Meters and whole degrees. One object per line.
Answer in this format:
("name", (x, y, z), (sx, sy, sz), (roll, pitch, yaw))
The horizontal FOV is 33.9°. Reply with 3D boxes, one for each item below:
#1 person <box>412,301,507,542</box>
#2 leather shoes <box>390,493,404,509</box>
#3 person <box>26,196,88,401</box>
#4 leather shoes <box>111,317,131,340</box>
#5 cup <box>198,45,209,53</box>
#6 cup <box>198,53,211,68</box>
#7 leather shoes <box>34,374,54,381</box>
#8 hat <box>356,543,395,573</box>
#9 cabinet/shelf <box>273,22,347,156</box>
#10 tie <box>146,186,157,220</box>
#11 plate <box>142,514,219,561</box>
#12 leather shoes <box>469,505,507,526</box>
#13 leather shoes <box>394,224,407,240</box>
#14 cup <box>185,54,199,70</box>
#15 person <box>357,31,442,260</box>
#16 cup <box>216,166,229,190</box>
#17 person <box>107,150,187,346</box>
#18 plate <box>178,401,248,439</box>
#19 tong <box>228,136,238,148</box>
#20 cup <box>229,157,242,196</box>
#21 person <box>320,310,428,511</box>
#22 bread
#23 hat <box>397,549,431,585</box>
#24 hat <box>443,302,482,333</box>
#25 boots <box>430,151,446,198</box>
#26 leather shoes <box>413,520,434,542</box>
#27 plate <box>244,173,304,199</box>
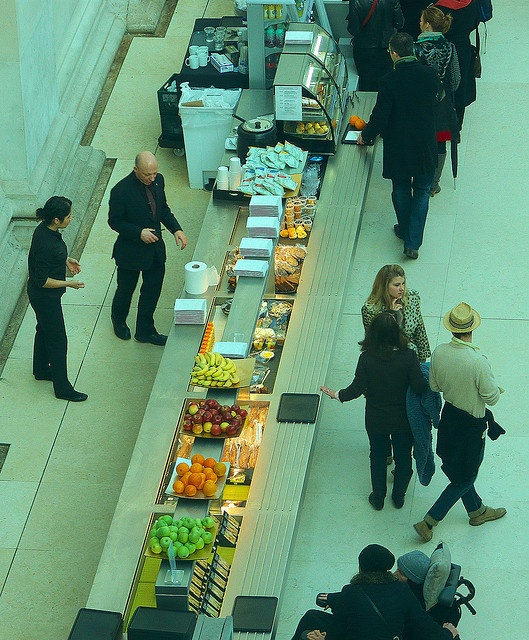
("person", (1.138, 0.692, 5.291), (0.236, 1.581, 0.461), (-11, 29, -31))
("leather shoes", (0.880, 1.208, 5.762), (0.050, 0.051, 0.124), (-8, 57, -1))
("person", (-1.539, -0.122, 6.498), (0.422, 1.730, 0.559), (0, 25, -11))
("leather shoes", (-1.220, 0.089, 7.415), (0.101, 0.095, 0.233), (-32, 86, -32))
("cup", (-0.685, -3.016, 9.687), (0.108, 0.049, 0.142), (-4, 16, 8))
("cup", (-0.680, -2.843, 9.514), (0.102, 0.142, 0.116), (0, 24, -12))
("leather shoes", (-1.781, 0.463, 7.023), (0.127, 0.069, 0.028), (4, -3, -9))
("hat", (0.507, 1.100, 4.064), (0.126, 0.136, 0.151), (5, 39, 26))
("cabinet/shelf", (0.436, -2.251, 8.327), (0.515, 0.814, 1.307), (3, 44, 7))
("tie", (-0.870, -0.888, 6.656), (0.022, 0.262, 0.095), (24, 30, 35))
("plate", (-0.436, 1.119, 4.465), (0.239, 0.085, 0.224), (10, 34, 12))
("leather shoes", (1.426, 1.272, 5.706), (0.287, 0.102, 0.097), (-14, 37, -9))
("leather shoes", (1.269, -0.823, 8.190), (0.065, 0.118, 0.171), (-4, 53, 8))
("cup", (-0.808, -2.833, 9.532), (0.087, 0.145, 0.211), (-17, 31, -41))
("person", (1.162, -1.458, 7.470), (0.617, 1.906, 0.453), (2, 25, -7))
("cup", (-0.360, -1.215, 7.465), (0.111, 0.193, 0.132), (3, 24, -6))
("person", (-0.948, -0.524, 6.935), (0.613, 1.719, 0.520), (5, 25, 0))
("plate", (-0.293, 0.576, 5.122), (0.352, 0.140, 0.309), (6, 23, 2))
("tong", (-0.318, -1.678, 8.243), (0.112, 0.027, 0.133), (2, 56, 4))
("cup", (-0.255, -1.212, 7.444), (0.128, 0.369, 0.118), (0, 50, 0))
("person", (0.692, 0.609, 5.439), (0.572, 1.498, 0.307), (6, 25, 2))
("bread", (0.005, -0.402, 6.747), (0.598, 0.237, 0.829), (6, 22, 2))
("hat", (0.751, 1.268, 4.494), (0.145, 0.150, 0.170), (6, 48, -36))
("hat", (1.164, -0.007, 5.134), (0.190, 0.170, 0.238), (8, 23, 6))
("boots", (1.691, -1.422, 8.523), (0.195, 0.436, 0.555), (2, -9, 10))
("leather shoes", (1.009, 1.349, 5.584), (0.081, 0.168, 0.070), (-19, 10, -4))
("plate", (0.046, -1.130, 7.380), (0.349, 0.051, 0.276), (4, 38, 9))
